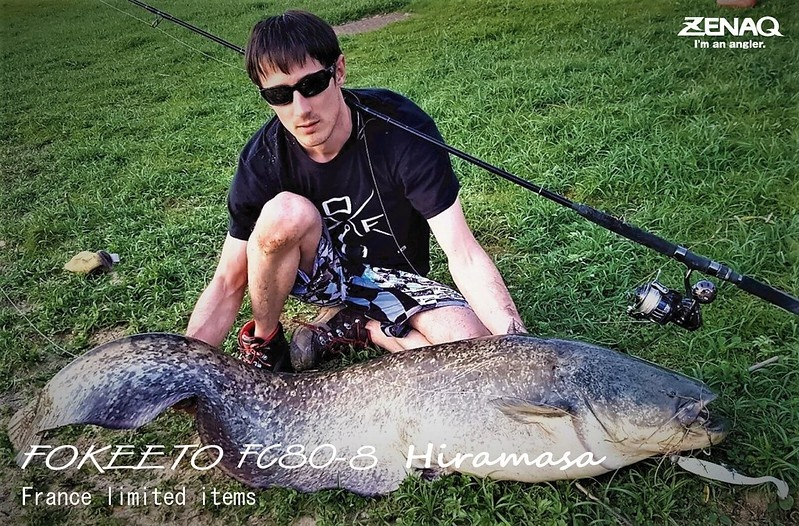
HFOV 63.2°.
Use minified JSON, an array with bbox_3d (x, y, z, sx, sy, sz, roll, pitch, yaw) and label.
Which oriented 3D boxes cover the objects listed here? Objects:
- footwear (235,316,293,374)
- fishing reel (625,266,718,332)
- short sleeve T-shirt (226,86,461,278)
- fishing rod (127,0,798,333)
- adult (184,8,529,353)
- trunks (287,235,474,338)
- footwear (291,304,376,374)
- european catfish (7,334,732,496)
[{"bbox_3d":[-0.639,0.423,3.078,0.126,0.167,0.387,-1,68,20],"label":"footwear"},{"bbox_3d":[1.072,0.172,2.634,0.313,0.223,0.243,12,73,9],"label":"fishing reel"},{"bbox_3d":[-0.295,-0.245,3.013,1.122,0.888,0.645,-6,-2,-27],"label":"short sleeve T-shirt"},{"bbox_3d":[0.467,-0.479,3.376,3.652,0.331,0.217,30,33,10],"label":"fishing rod"},{"bbox_3d":[-0.183,-0.290,2.902,1.813,1.469,1.172,1,17,12],"label":"adult"},{"bbox_3d":[-0.144,0.145,3.172,0.932,0.399,0.344,4,15,6],"label":"trunks"},{"bbox_3d":[-0.359,0.329,3.219,0.489,0.227,0.183,3,12,26],"label":"footwear"},{"bbox_3d":[-0.074,0.652,2.677,1.940,0.491,0.494,2,66,8],"label":"european catfish"}]
